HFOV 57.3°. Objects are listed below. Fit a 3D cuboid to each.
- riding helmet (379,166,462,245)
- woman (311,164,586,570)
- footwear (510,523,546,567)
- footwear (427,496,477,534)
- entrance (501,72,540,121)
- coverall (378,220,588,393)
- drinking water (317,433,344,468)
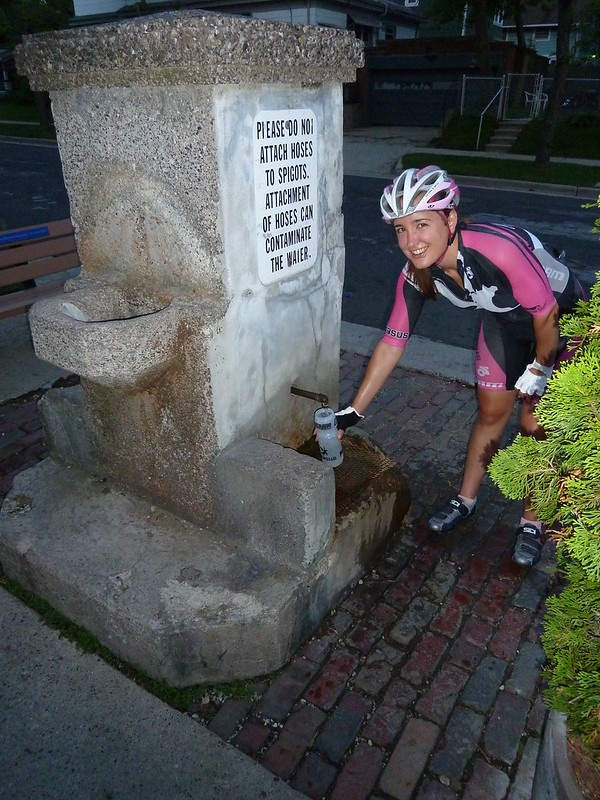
[{"bbox_3d":[0.498,-0.846,2.292,0.314,0.225,0.278,4,29,9],"label":"riding helmet"},{"bbox_3d":[0.792,-0.132,2.636,1.446,1.835,0.672,-15,18,-21],"label":"woman"},{"bbox_3d":[1.172,0.744,2.865,0.106,0.108,0.293,5,17,23],"label":"footwear"},{"bbox_3d":[0.828,0.635,3.088,0.354,0.146,0.126,-28,42,-32],"label":"footwear"},{"bbox_3d":[8.561,-11.848,21.244,1.216,1.456,7.862,8,30,18],"label":"entrance"},{"bbox_3d":[0.940,-0.399,2.572,0.671,0.836,0.434,4,29,11],"label":"coverall"},{"bbox_3d":[0.140,0.239,2.606,0.104,0.176,0.103,-17,38,3],"label":"drinking water"}]
